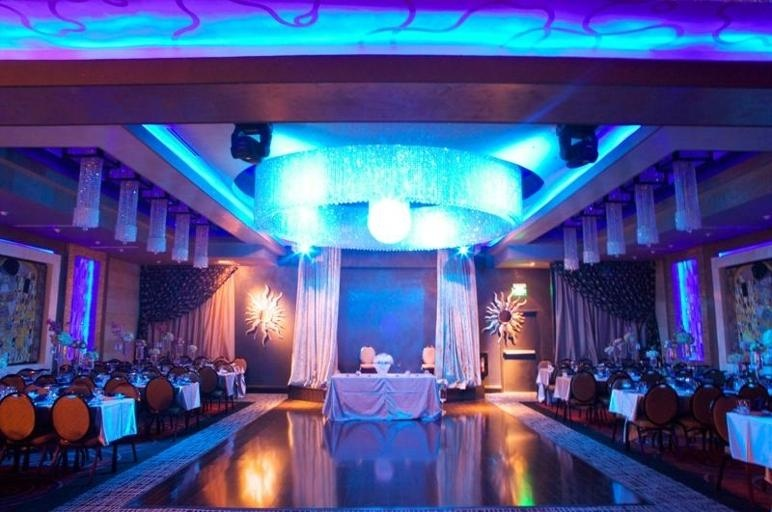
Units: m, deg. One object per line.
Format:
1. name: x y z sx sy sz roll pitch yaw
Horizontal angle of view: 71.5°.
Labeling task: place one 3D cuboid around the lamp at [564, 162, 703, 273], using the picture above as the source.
1. lamp: 5.007 -0.811 10.726 0.656 1.764 3.684 6 -21 -17

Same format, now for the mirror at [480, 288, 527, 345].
1. mirror: 3.452 1.846 15.768 1.580 1.837 0.095 3 -14 -11

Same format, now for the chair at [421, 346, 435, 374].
1. chair: 1.182 2.803 14.438 0.464 0.733 0.609 0 -15 4

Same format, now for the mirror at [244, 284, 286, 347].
1. mirror: -3.546 1.840 15.907 1.704 2.325 0.170 -2 -7 4

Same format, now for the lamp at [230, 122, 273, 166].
1. lamp: -1.978 -1.678 7.880 0.559 0.769 0.393 1 -8 -5

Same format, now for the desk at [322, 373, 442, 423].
1. desk: -0.049 2.972 11.239 2.391 0.895 0.348 0 -2 -3

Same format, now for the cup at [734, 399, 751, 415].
1. cup: 4.577 1.932 6.869 0.175 0.197 0.182 -1 -11 0

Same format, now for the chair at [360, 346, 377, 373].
1. chair: -0.464 2.785 14.372 0.404 0.650 0.650 0 -2 -3

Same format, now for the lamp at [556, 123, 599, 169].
1. lamp: 2.880 -1.656 7.929 0.559 0.807 0.486 1 -11 -5
